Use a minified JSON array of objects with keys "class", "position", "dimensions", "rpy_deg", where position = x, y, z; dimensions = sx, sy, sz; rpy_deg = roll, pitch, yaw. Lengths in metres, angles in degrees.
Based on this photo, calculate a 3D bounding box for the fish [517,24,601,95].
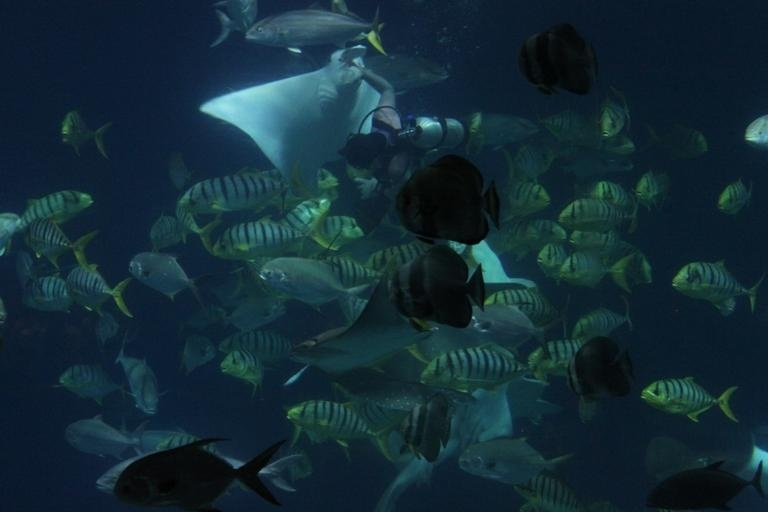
[{"class":"fish","position":[1.611,-1.829,8.116],"dimensions":[0.668,0.590,0.176],"rpy_deg":[1,-7,3]}]

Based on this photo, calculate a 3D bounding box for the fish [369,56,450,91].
[{"class":"fish","position":[0.318,-2.325,11.071],"dimensions":[0.813,0.520,0.201],"rpy_deg":[19,-11,0]}]
